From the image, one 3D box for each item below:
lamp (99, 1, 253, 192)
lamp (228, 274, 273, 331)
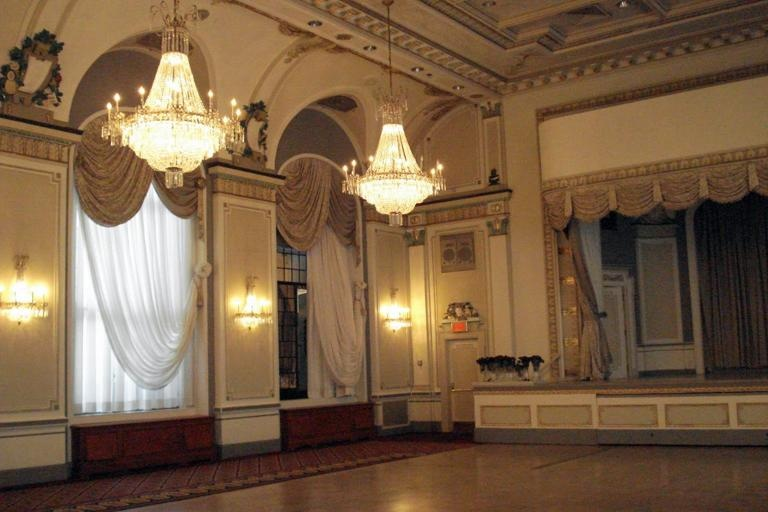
[{"bbox_3d":[-3.012,-2.415,9.341,1.635,2.848,0.706,0,-7,-17],"label":"lamp"},{"bbox_3d":[-3.013,1.062,14.437,0.975,1.369,0.976,2,-4,8],"label":"lamp"}]
